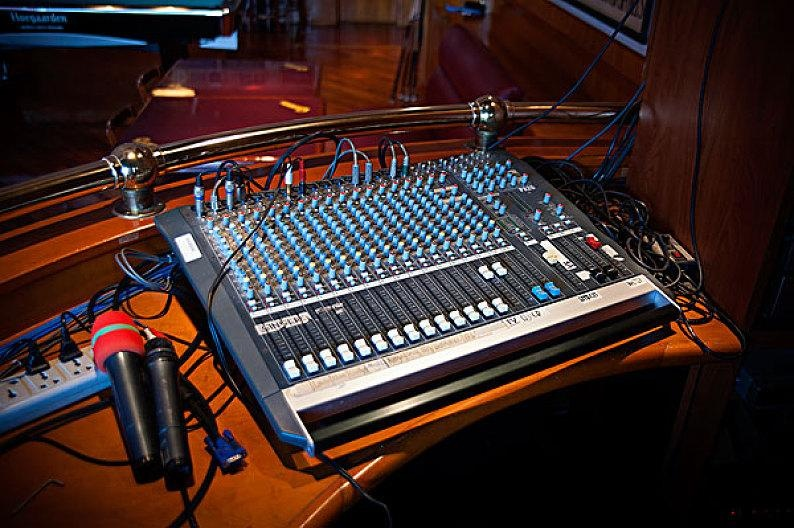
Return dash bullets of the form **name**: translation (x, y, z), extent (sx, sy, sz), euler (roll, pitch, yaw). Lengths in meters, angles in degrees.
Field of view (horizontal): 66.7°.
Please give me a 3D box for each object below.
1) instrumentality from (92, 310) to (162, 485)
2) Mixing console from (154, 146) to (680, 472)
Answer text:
- **instrumentality**: translation (-0.572, 0.244, 1.298), extent (0.118, 0.118, 0.413), euler (-26, 58, 6)
- **Mixing console**: translation (0.025, -0.011, 1.451), extent (1.075, 0.315, 0.655), euler (-16, 36, -17)
